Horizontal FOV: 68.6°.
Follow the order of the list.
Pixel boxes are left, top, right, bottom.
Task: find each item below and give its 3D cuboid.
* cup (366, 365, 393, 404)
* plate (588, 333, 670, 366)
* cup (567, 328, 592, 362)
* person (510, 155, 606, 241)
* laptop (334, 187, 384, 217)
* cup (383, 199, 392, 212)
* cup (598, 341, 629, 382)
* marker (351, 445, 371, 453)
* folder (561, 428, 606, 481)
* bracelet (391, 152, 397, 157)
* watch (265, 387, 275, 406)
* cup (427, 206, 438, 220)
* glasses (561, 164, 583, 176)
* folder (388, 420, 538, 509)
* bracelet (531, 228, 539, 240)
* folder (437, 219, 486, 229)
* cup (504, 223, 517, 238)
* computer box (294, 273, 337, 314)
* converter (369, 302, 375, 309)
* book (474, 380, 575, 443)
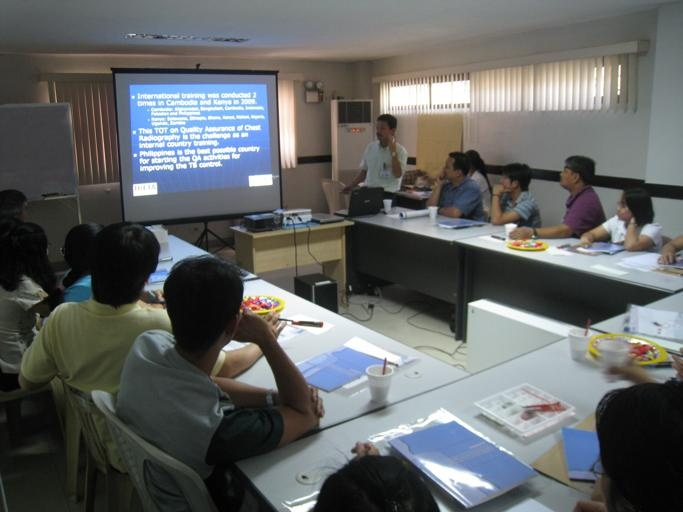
[{"bbox_3d":[0.146,0.480,1.939,0.120,0.129,0.114,-1,7,0],"label":"cup"},{"bbox_3d":[1.237,0.394,2.136,0.174,0.038,0.179,3,9,26],"label":"plate"},{"bbox_3d":[1.001,0.382,2.180,0.110,0.130,0.107,-3,11,1],"label":"cup"},{"bbox_3d":[1.892,-0.414,4.362,0.757,0.879,0.706,2,5,43],"label":"person"},{"bbox_3d":[0.225,-0.591,5.136,0.389,0.292,0.291,-8,22,-31],"label":"laptop"},{"bbox_3d":[0.485,-0.528,5.277,0.115,0.182,0.116,0,9,0],"label":"cup"},{"bbox_3d":[1.103,0.431,2.061,0.107,0.140,0.139,0,7,2],"label":"cup"},{"bbox_3d":[0.065,0.615,1.600,0.032,0.017,0.017,2,32,33],"label":"marker"},{"bbox_3d":[0.753,0.637,1.595,0.139,0.042,0.209,0,34,10],"label":"folder"},{"bbox_3d":[0.608,-1.177,5.758,0.046,0.067,0.018,-2,-25,-1],"label":"bracelet"},{"bbox_3d":[-0.261,0.514,1.836,0.029,0.051,0.052,-1,16,-15],"label":"watch"},{"bbox_3d":[0.879,-0.424,4.891,0.084,0.149,0.142,-8,12,-44],"label":"cup"},{"bbox_3d":[1.939,-0.719,4.204,0.078,0.064,0.104,-4,11,-42],"label":"glasses"},{"bbox_3d":[0.369,0.626,1.493,0.224,0.035,0.242,-11,24,-34],"label":"folder"},{"bbox_3d":[1.599,-0.183,4.137,0.032,0.080,0.056,-5,7,13],"label":"bracelet"},{"bbox_3d":[1.080,-0.290,4.605,0.416,0.042,0.374,3,15,24],"label":"folder"},{"bbox_3d":[1.385,-0.212,4.175,0.111,0.133,0.137,-3,4,-30],"label":"cup"},{"bbox_3d":[-0.184,0.273,3.610,0.189,0.374,0.193,6,17,35],"label":"computer box"},{"bbox_3d":[0.288,0.483,4.879,0.041,0.033,0.042,8,19,18],"label":"converter"},{"bbox_3d":[0.656,0.553,1.804,0.173,0.033,0.174,-17,21,-33],"label":"book"}]
